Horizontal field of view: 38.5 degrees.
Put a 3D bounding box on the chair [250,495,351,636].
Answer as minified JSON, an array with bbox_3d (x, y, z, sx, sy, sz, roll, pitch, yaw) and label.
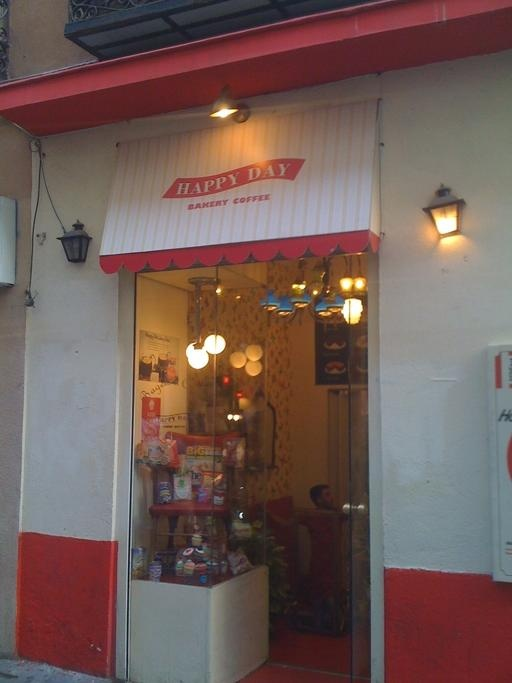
[{"bbox_3d":[0.439,1.961,6.725,0.715,1.194,0.960,0,-7,2],"label":"chair"}]

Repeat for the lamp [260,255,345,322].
[{"bbox_3d":[0.403,-0.381,6.177,0.743,0.567,0.394,-5,-17,26],"label":"lamp"}]

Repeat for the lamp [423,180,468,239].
[{"bbox_3d":[1.191,-0.834,4.641,0.294,0.428,0.290,0,5,41],"label":"lamp"}]

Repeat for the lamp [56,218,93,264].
[{"bbox_3d":[-1.462,-0.835,5.938,0.227,0.363,0.185,-3,-7,25],"label":"lamp"}]

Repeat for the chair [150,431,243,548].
[{"bbox_3d":[-0.386,1.217,5.948,0.757,1.060,0.772,0,-12,5],"label":"chair"}]
